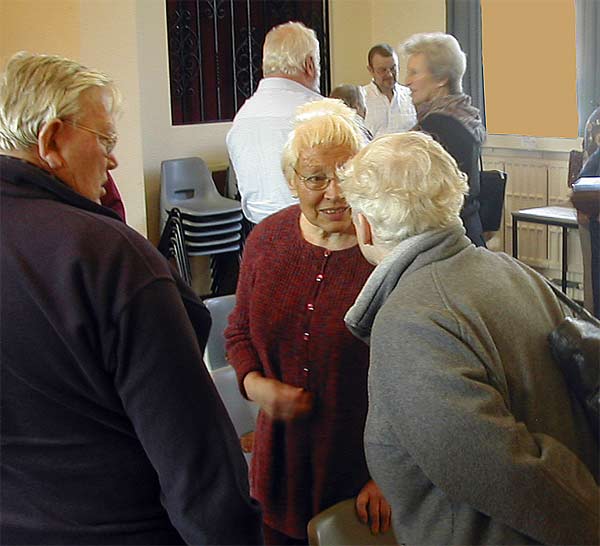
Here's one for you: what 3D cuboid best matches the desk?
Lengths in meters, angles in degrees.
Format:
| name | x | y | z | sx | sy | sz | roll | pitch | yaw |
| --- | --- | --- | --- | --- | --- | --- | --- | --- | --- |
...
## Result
| name | x | y | z | sx | sy | sz | roll | pitch | yaw |
| --- | --- | --- | --- | --- | --- | --- | --- | --- | --- |
| desk | 1.830 | -0.043 | 4.085 | 0.618 | 0.868 | 0.857 | 3 | 9 | 33 |

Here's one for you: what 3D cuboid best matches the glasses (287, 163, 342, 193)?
| name | x | y | z | sx | sy | sz | roll | pitch | yaw |
| --- | --- | --- | --- | --- | --- | --- | --- | --- | --- |
| glasses | 0.022 | -0.214 | 1.270 | 0.139 | 0.060 | 0.041 | 2 | 13 | 43 |
